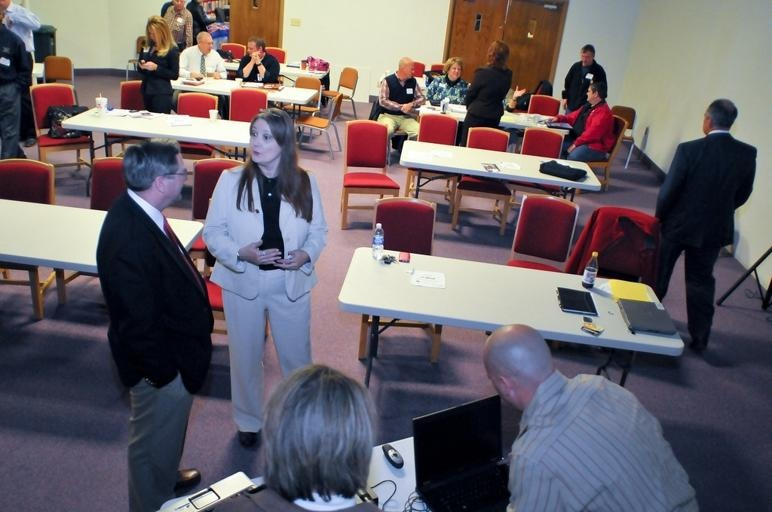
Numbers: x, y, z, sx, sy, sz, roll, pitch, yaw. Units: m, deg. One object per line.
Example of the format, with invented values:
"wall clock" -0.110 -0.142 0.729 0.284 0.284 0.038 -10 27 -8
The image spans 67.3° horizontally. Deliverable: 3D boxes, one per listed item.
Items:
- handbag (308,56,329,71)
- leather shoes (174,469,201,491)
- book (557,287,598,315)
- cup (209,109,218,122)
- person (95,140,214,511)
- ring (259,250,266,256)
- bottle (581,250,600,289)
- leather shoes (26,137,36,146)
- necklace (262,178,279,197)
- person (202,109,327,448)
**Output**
"handbag" -1.329 -3.734 11.303 0.434 0.288 0.312 8 28 6
"leather shoes" -1.294 1.442 3.779 0.065 0.083 0.184 11 21 23
"book" 1.400 0.329 4.237 0.266 0.079 0.284 8 20 3
"cup" -2.119 -1.715 7.086 0.120 0.123 0.155 1 10 2
"person" -1.308 0.429 3.362 0.549 2.098 0.507 -12 26 -42
"ring" -0.799 -0.023 3.715 0.037 0.010 0.030 3 34 -2
"bottle" 1.651 0.102 4.644 0.110 0.339 0.115 0 34 0
"leather shoes" -5.044 -1.596 8.161 0.086 0.075 0.173 -2 16 -13
"necklace" -0.752 -0.445 3.739 0.102 0.107 0.029 1 7 2
"person" -0.804 0.203 3.928 0.748 2.231 0.714 -6 24 -24
